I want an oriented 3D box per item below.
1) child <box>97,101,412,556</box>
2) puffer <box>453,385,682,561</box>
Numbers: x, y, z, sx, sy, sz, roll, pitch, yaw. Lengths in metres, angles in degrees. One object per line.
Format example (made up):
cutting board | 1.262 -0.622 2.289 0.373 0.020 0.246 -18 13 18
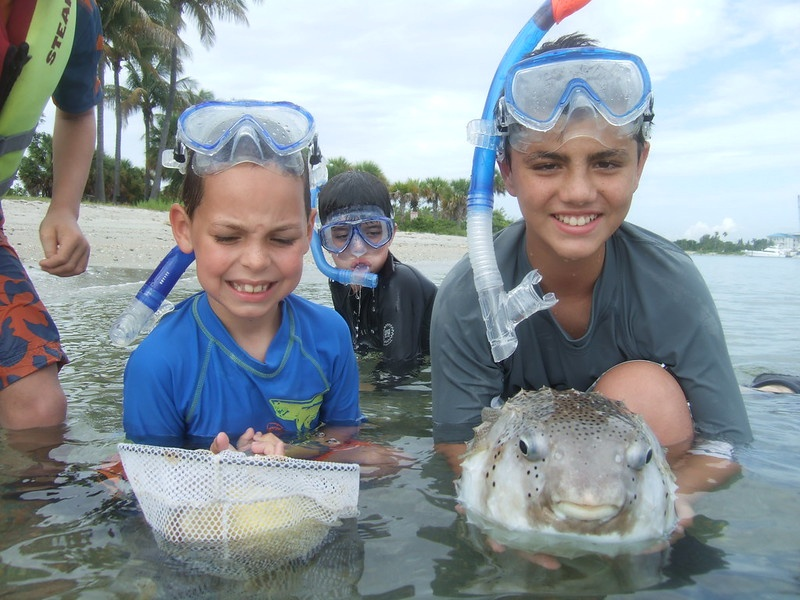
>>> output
child | -0.635 0.133 2.715 1.261 1.828 1.078 -2 -4 -25
puffer | 0.525 0.530 2.050 0.487 0.319 0.594 1 -14 7
